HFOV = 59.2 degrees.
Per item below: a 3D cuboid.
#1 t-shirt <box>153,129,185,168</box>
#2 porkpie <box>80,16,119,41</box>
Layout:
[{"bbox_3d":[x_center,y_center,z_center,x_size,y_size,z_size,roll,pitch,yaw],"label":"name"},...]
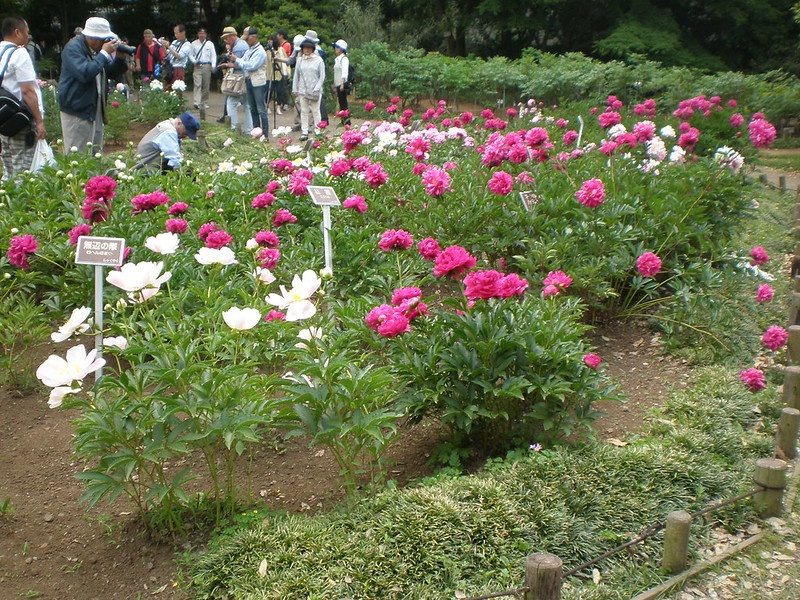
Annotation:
[{"bbox_3d":[-2.833,-1.839,8.494,0.270,0.333,0.496,-5,42,-31],"label":"t-shirt"},{"bbox_3d":[-3.693,-3.350,8.706,0.497,0.236,0.436,-22,54,-42],"label":"porkpie"}]
